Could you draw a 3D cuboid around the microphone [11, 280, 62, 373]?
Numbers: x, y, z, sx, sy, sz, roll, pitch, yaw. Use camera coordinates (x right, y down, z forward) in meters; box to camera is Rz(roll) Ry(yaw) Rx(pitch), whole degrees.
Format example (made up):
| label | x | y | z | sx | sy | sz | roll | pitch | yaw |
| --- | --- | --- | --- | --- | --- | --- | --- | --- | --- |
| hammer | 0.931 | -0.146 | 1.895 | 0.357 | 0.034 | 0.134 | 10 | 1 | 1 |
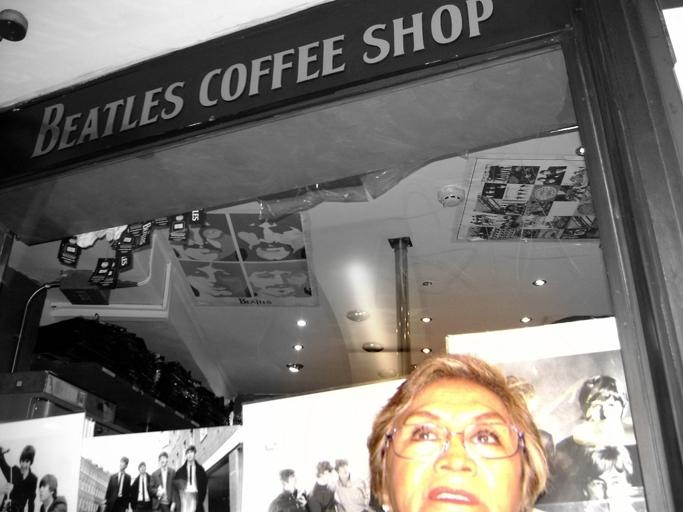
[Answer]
| label | x | y | z | sx | sy | sz | roll | pitch | yaw |
| --- | --- | --- | --- | --- | --- | --- | --- | --- | --- |
| microphone | -0.975 | 0.206 | 1.573 | 0.133 | 0.259 | 0.048 | -17 | -28 | 33 |
